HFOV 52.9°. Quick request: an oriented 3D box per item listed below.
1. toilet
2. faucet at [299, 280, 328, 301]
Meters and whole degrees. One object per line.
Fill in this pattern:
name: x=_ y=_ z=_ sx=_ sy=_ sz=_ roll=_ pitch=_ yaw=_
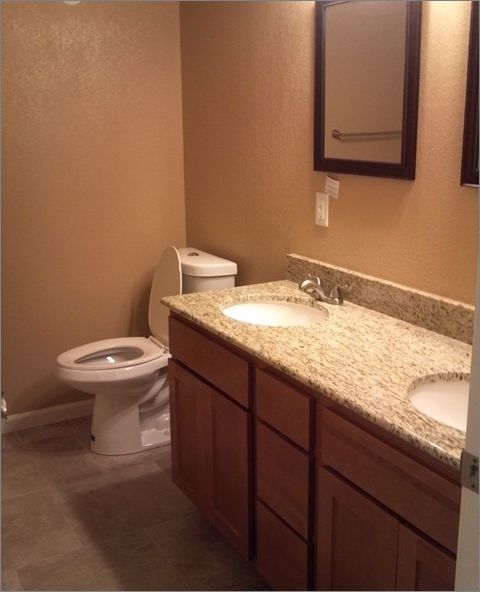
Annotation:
toilet: x=-0.495 y=0.287 z=2.473 sx=0.826 sy=0.984 sz=0.513 roll=-3 pitch=12 yaw=-37
faucet: x=0.266 y=-0.026 z=1.744 sx=0.095 sy=0.071 sz=0.141 roll=1 pitch=11 yaw=9
